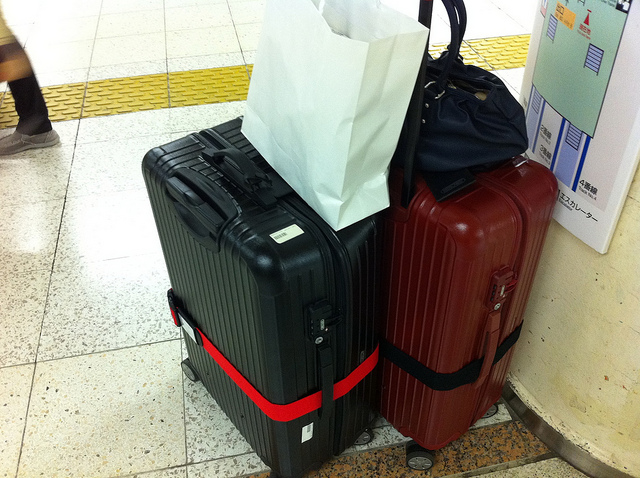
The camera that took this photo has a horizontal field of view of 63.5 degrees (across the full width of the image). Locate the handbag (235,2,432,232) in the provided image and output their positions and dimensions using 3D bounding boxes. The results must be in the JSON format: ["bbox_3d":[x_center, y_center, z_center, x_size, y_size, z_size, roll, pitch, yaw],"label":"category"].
[{"bbox_3d":[0.051,-0.294,1.316,0.155,0.435,0.425,-24,54,-40],"label":"handbag"}]

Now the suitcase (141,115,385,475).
[{"bbox_3d":[-0.146,0.198,1.533,0.399,1.002,0.699,-27,55,-22],"label":"suitcase"}]

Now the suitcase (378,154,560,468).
[{"bbox_3d":[0.447,0.246,1.635,0.551,0.987,0.375,-16,42,-12],"label":"suitcase"}]
